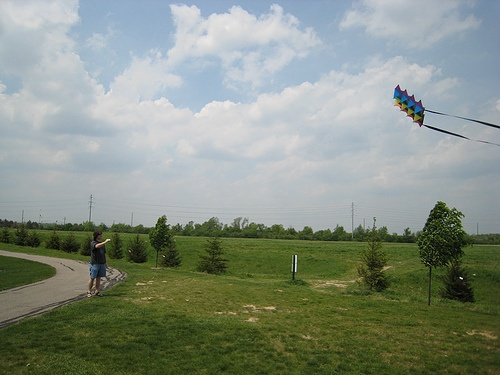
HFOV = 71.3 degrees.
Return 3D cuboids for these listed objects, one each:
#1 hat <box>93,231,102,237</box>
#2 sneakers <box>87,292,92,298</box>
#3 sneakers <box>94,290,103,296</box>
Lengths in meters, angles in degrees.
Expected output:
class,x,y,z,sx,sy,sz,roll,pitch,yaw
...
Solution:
class,x,y,z,sx,sy,sz,roll,pitch,yaw
hat,-8.315,2.538,18.896,0.319,0.284,0.281,4,-1,31
sneakers,-8.714,5.858,18.926,0.138,0.278,0.425,7,-17,-44
sneakers,-8.465,5.867,19.317,0.496,0.227,0.176,10,-8,-7
